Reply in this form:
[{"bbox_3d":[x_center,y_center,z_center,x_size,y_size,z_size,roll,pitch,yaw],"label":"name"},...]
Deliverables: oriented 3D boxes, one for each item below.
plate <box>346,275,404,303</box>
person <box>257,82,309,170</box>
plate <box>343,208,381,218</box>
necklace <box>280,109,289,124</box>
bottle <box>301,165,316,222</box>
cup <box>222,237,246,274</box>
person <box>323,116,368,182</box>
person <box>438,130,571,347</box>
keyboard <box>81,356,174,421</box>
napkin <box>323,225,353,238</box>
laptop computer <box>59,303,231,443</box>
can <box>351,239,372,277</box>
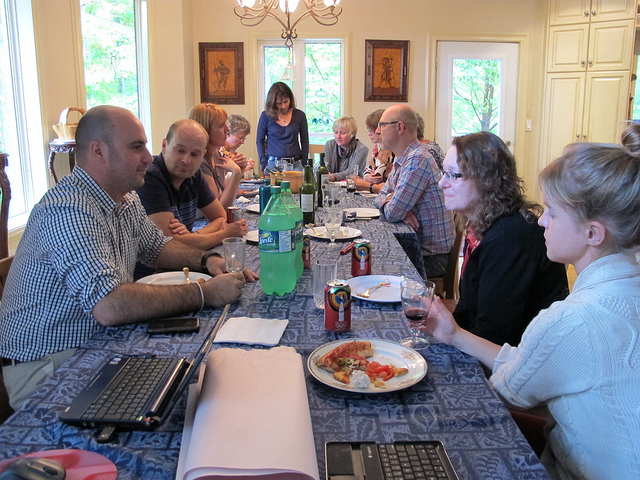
[{"bbox_3d":[0.205,0.171,1.659,0.203,0.023,0.257,1,19,4],"label":"plate"},{"bbox_3d":[-0.443,-1.373,5.305,0.612,0.951,0.410,-3,20,-7],"label":"person"},{"bbox_3d":[0.279,-0.199,3.015,0.228,0.037,0.241,1,19,3],"label":"plate"},{"bbox_3d":[-0.419,-1.483,5.325,0.107,0.135,0.048,-3,20,-8],"label":"necklace"},{"bbox_3d":[-0.071,-0.278,2.602,0.112,0.341,0.114,0,23,0],"label":"bottle"},{"bbox_3d":[-0.330,0.063,1.729,0.088,0.142,0.118,4,10,23],"label":"cup"},{"bbox_3d":[0.266,-1.032,5.278,0.553,0.832,0.562,12,22,28],"label":"person"},{"bbox_3d":[0.687,0.019,1.758,0.520,0.835,0.589,-6,11,17],"label":"person"},{"bbox_3d":[-0.439,0.343,1.035,0.175,0.027,0.276,2,12,-5],"label":"keyboard"},{"bbox_3d":[0.094,-0.049,2.451,0.149,0.038,0.217,-1,19,-2],"label":"napkin"},{"bbox_3d":[-0.384,0.275,1.008,0.308,0.205,0.322,7,13,-4],"label":"laptop computer"},{"bbox_3d":[0.170,0.085,1.833,0.097,0.153,0.096,-2,2,0],"label":"can"}]
